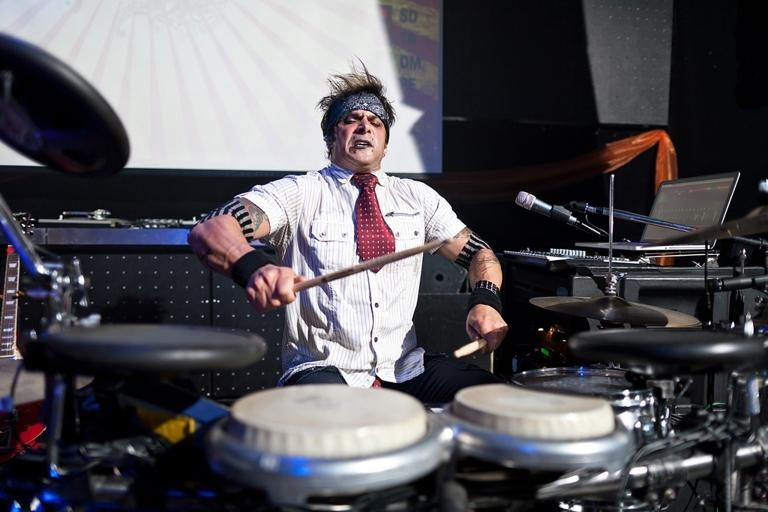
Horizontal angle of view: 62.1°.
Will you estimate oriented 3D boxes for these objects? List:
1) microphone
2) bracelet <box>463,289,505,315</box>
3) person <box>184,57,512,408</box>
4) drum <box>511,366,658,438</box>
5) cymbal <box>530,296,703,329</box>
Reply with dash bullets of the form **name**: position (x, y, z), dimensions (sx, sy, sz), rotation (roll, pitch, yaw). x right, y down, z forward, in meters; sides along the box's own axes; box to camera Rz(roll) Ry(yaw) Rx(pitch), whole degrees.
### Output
- **microphone**: position (1.046, -0.249, 3.947), dimensions (0.638, 0.128, 0.129), rotation (25, 16, -6)
- **bracelet**: position (0.401, 0.173, 2.483), dimensions (0.104, 0.067, 0.101), rotation (3, -27, -21)
- **person**: position (-0.124, -0.110, 2.502), dimensions (1.229, 1.330, 0.768), rotation (-5, 4, -17)
- **drum**: position (0.726, 0.461, 2.199), dimensions (0.348, 0.251, 0.497), rotation (-2, 5, -24)
- **cymbal**: position (0.957, 0.241, 2.705), dimensions (0.689, 0.147, 0.306), rotation (-2, 4, 25)
